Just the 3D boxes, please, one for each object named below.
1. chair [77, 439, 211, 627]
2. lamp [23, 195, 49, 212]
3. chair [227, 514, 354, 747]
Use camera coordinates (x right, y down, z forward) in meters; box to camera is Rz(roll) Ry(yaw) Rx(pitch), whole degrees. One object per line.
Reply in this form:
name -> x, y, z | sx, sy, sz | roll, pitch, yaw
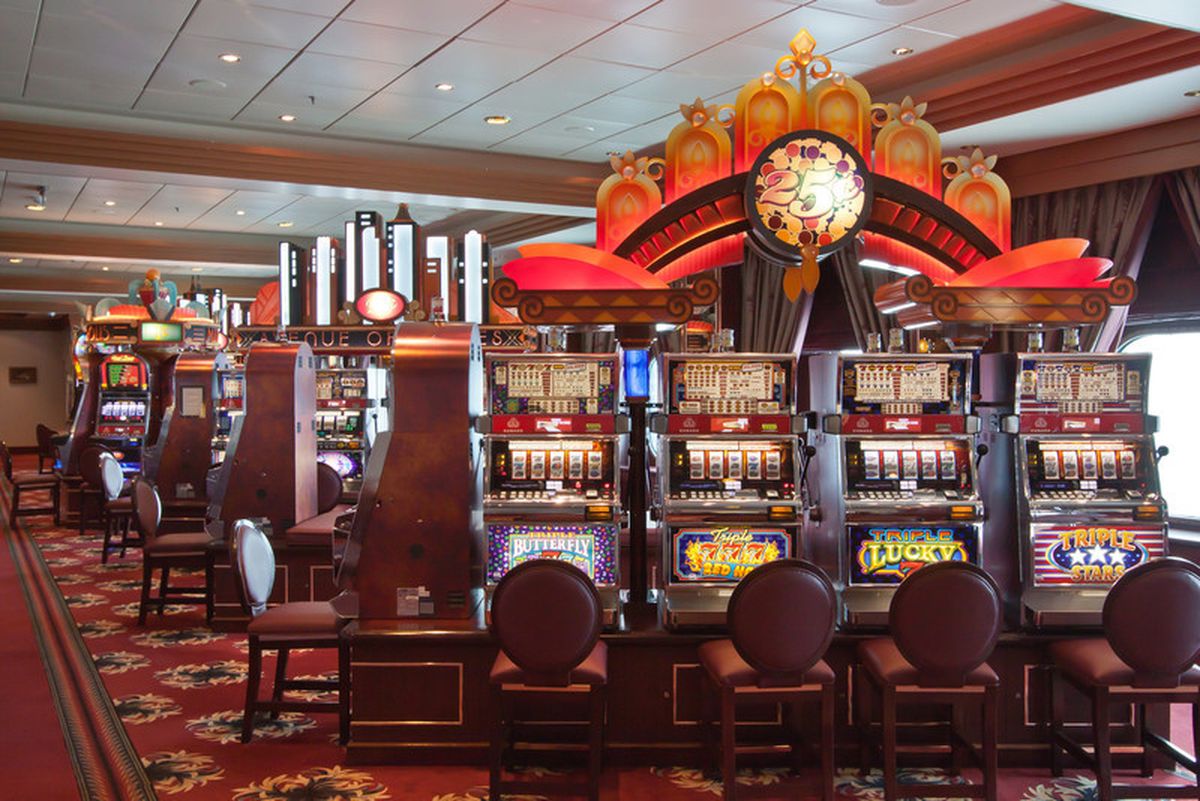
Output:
chair -> -4.419, 1.224, 9.350 | 0.828, 1.357, 3.554 | 1, -1, -28
lamp -> -7.328, -2.573, 12.394 | 0.318, 0.211, 0.126 | -6, 9, -43
chair -> -1.959, 1.481, 6.180 | 0.843, 1.387, 0.421 | 0, -1, 6
